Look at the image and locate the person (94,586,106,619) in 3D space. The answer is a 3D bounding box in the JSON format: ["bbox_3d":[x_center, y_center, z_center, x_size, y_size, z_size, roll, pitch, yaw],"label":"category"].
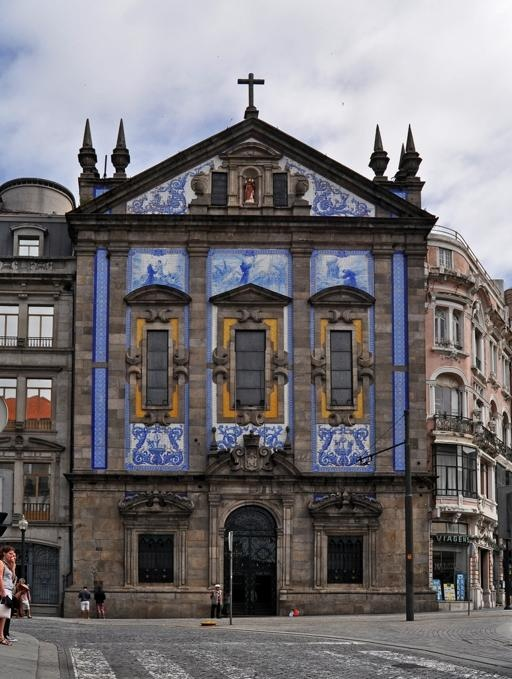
[{"bbox_3d":[-5.906,9.880,63.154,0.427,1.336,1.661,0,-12,-5],"label":"person"}]
